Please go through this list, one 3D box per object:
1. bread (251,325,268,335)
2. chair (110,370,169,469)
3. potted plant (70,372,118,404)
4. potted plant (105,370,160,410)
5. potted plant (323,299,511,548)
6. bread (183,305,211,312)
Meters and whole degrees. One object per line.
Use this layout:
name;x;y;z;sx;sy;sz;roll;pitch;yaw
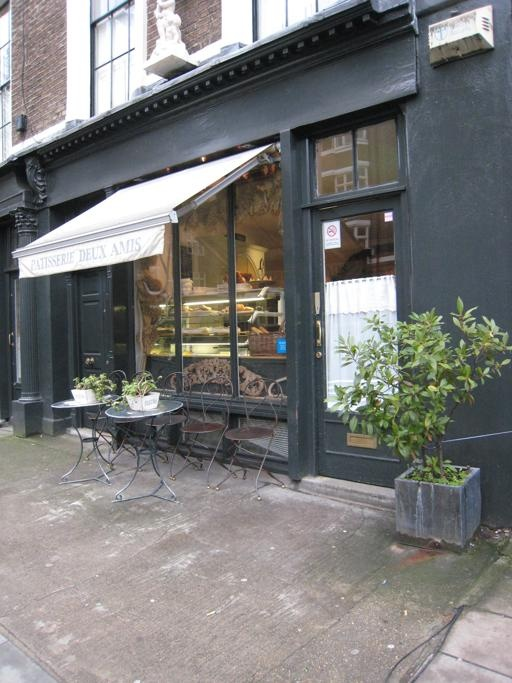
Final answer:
bread;0.031;-0.106;5.830;0.052;0.057;0.228;27;-4;-38
chair;-1.036;0.713;5.338;0.664;0.699;0.586;-3;-2;45
potted plant;-1.709;0.499;6.300;0.445;0.314;0.381;5;8;41
potted plant;-0.996;0.427;5.393;0.346;0.275;0.422;3;9;37
potted plant;1.147;0.522;3.992;1.167;1.627;0.918;-1;5;15
bread;-0.651;-0.361;6.414;0.196;0.063;0.120;0;0;14
